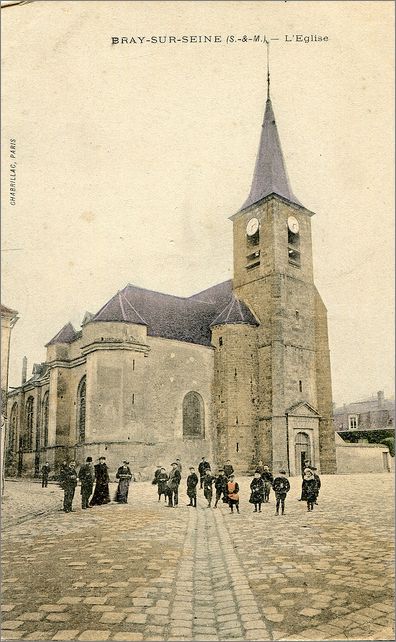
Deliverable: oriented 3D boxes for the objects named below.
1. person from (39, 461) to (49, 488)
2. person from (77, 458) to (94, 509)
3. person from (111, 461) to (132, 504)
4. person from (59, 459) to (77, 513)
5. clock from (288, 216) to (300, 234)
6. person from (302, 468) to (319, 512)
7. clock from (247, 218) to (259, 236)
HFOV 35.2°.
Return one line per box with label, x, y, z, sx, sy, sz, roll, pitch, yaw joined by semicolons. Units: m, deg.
person;-6.784;6.913;27.627;0.246;1.023;1.555;3;-14;-15
person;-3.047;4.438;16.969;0.389;1.310;1.279;2;-14;-9
person;-2.159;4.629;17.767;0.430;1.164;1.041;1;-14;-6
person;-3.284;4.234;15.759;0.413;1.211;1.175;2;-14;-11
clock;5.501;-5.552;36.007;0.208;0.945;1.160;-11;-17;35
person;2.761;4.124;15.221;0.415;0.998;1.078;-3;-14;9
clock;3.197;-5.463;36.135;0.132;0.953;0.957;13;-13;-25
